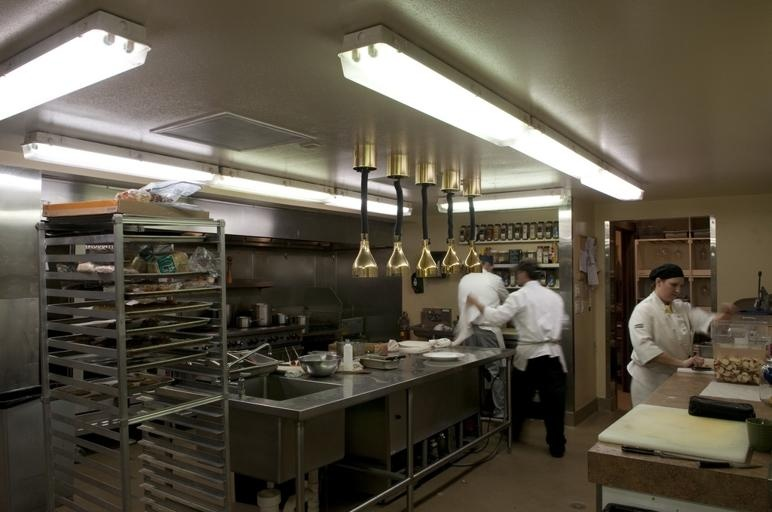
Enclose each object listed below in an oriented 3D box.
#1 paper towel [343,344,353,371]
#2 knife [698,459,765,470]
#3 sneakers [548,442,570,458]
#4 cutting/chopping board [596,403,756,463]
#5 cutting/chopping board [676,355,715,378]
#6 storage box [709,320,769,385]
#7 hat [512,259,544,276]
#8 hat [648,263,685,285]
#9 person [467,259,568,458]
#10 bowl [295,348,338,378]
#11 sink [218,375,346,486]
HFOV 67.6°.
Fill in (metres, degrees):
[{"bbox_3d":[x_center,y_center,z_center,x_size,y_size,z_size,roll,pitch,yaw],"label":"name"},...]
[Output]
[{"bbox_3d":[-0.316,0.836,4.847,0.084,0.205,0.206,2,4,-4],"label":"paper towel"},{"bbox_3d":[1.737,1.062,2.929,0.287,0.033,0.036,2,4,7],"label":"knife"},{"bbox_3d":[1.721,1.912,5.756,0.147,0.153,0.166,3,-6,-39],"label":"sneakers"},{"bbox_3d":[1.668,0.974,3.326,0.713,0.132,0.723,4,5,29],"label":"cutting/chopping board"},{"bbox_3d":[2.536,0.898,4.725,0.287,0.080,0.210,-2,-2,22],"label":"cutting/chopping board"},{"bbox_3d":[2.607,0.696,4.257,0.438,0.403,0.450,-3,-6,32],"label":"storage box"},{"bbox_3d":[1.537,0.118,6.225,0.233,0.114,0.147,12,8,30],"label":"hat"},{"bbox_3d":[2.399,0.155,4.988,0.233,0.175,0.275,2,4,0],"label":"hat"},{"bbox_3d":[1.494,1.018,6.156,0.994,1.945,0.774,4,5,26],"label":"person"},{"bbox_3d":[-0.541,0.866,4.647,0.295,0.182,0.353,1,4,-11],"label":"bowl"},{"bbox_3d":[-0.673,1.257,4.122,0.834,0.482,0.811,-3,-5,40],"label":"sink"}]
